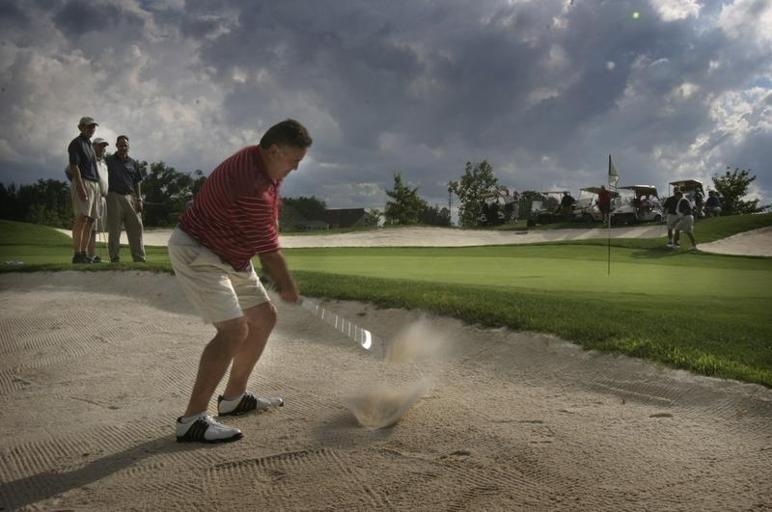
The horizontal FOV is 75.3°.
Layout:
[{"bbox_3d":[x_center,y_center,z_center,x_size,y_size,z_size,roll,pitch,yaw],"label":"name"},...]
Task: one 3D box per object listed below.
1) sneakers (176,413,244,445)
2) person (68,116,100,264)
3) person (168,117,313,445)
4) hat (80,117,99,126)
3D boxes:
[{"bbox_3d":[-1.760,1.731,5.070,0.706,0.270,0.256,2,-2,-2],"label":"sneakers"},{"bbox_3d":[-6.128,-1.304,10.163,0.540,2.917,0.949,0,3,-32],"label":"person"},{"bbox_3d":[-1.545,0.219,5.167,1.273,3.261,0.630,1,3,-22],"label":"person"},{"bbox_3d":[-5.857,-2.649,9.832,0.282,0.184,0.276,0,3,-35],"label":"hat"}]
